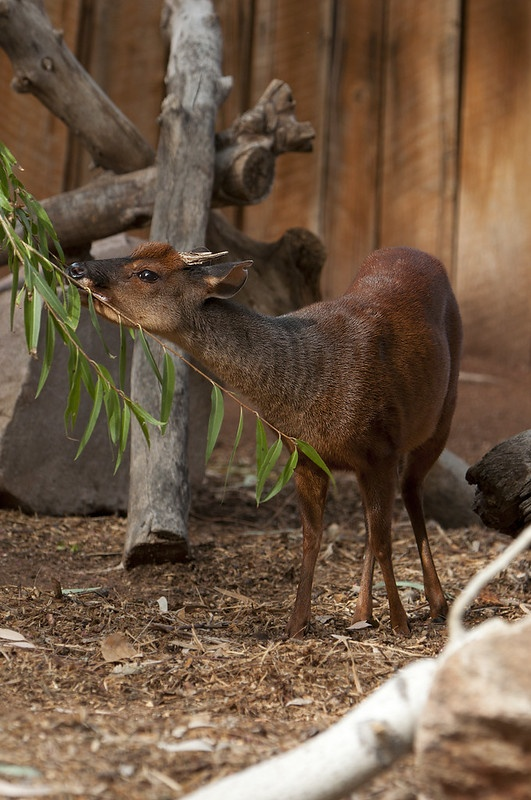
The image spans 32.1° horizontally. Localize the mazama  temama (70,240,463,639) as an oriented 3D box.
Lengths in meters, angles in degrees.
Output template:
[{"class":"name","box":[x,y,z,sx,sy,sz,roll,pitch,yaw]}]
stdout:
[{"class":"mazama  temama","box":[0.154,0.118,3.543,1.604,1.438,0.645,-1,3,-16]}]
